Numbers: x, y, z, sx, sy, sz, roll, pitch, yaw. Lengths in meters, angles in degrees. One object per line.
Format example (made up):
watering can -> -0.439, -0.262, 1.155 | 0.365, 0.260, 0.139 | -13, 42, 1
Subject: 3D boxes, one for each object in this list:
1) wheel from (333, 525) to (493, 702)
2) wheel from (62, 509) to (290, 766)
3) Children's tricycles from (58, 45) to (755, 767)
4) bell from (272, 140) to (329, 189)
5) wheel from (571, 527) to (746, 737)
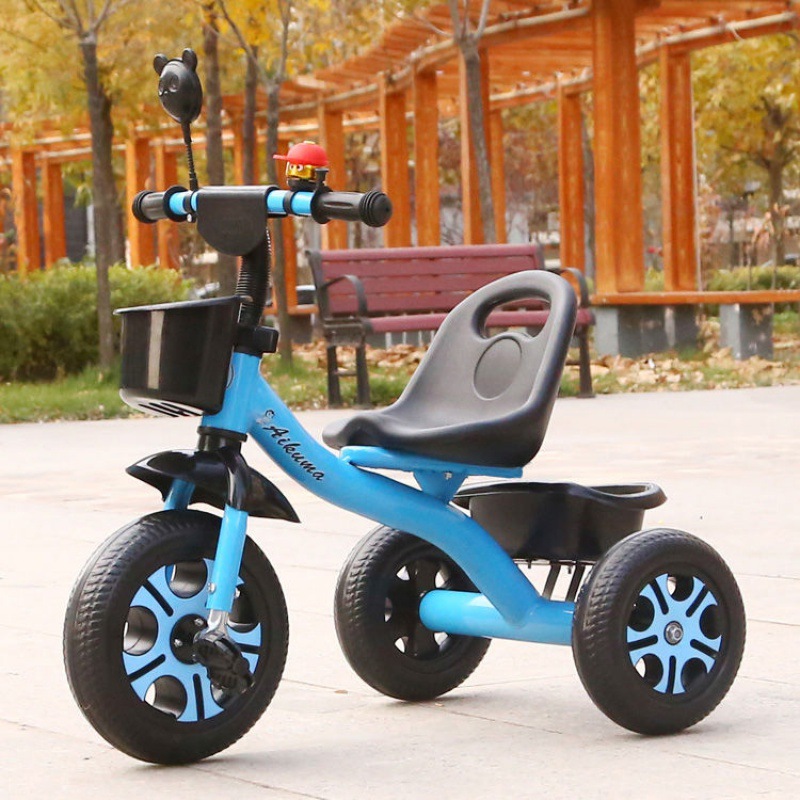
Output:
wheel -> 0.038, 0.499, 3.605 | 0.294, 0.352, 0.114 | 26, -21, -33
wheel -> -0.445, 0.496, 3.108 | 0.357, 0.432, 0.115 | 26, -12, -36
Children's tricycles -> -0.028, 0.025, 3.455 | 1.422, 1.538, 1.013 | 0, -2, -32
bell -> -0.193, -0.472, 3.086 | 0.108, 0.097, 0.085 | 0, 13, 2
wheel -> 0.555, 0.506, 3.332 | 0.350, 0.414, 0.102 | 8, -1, -30
